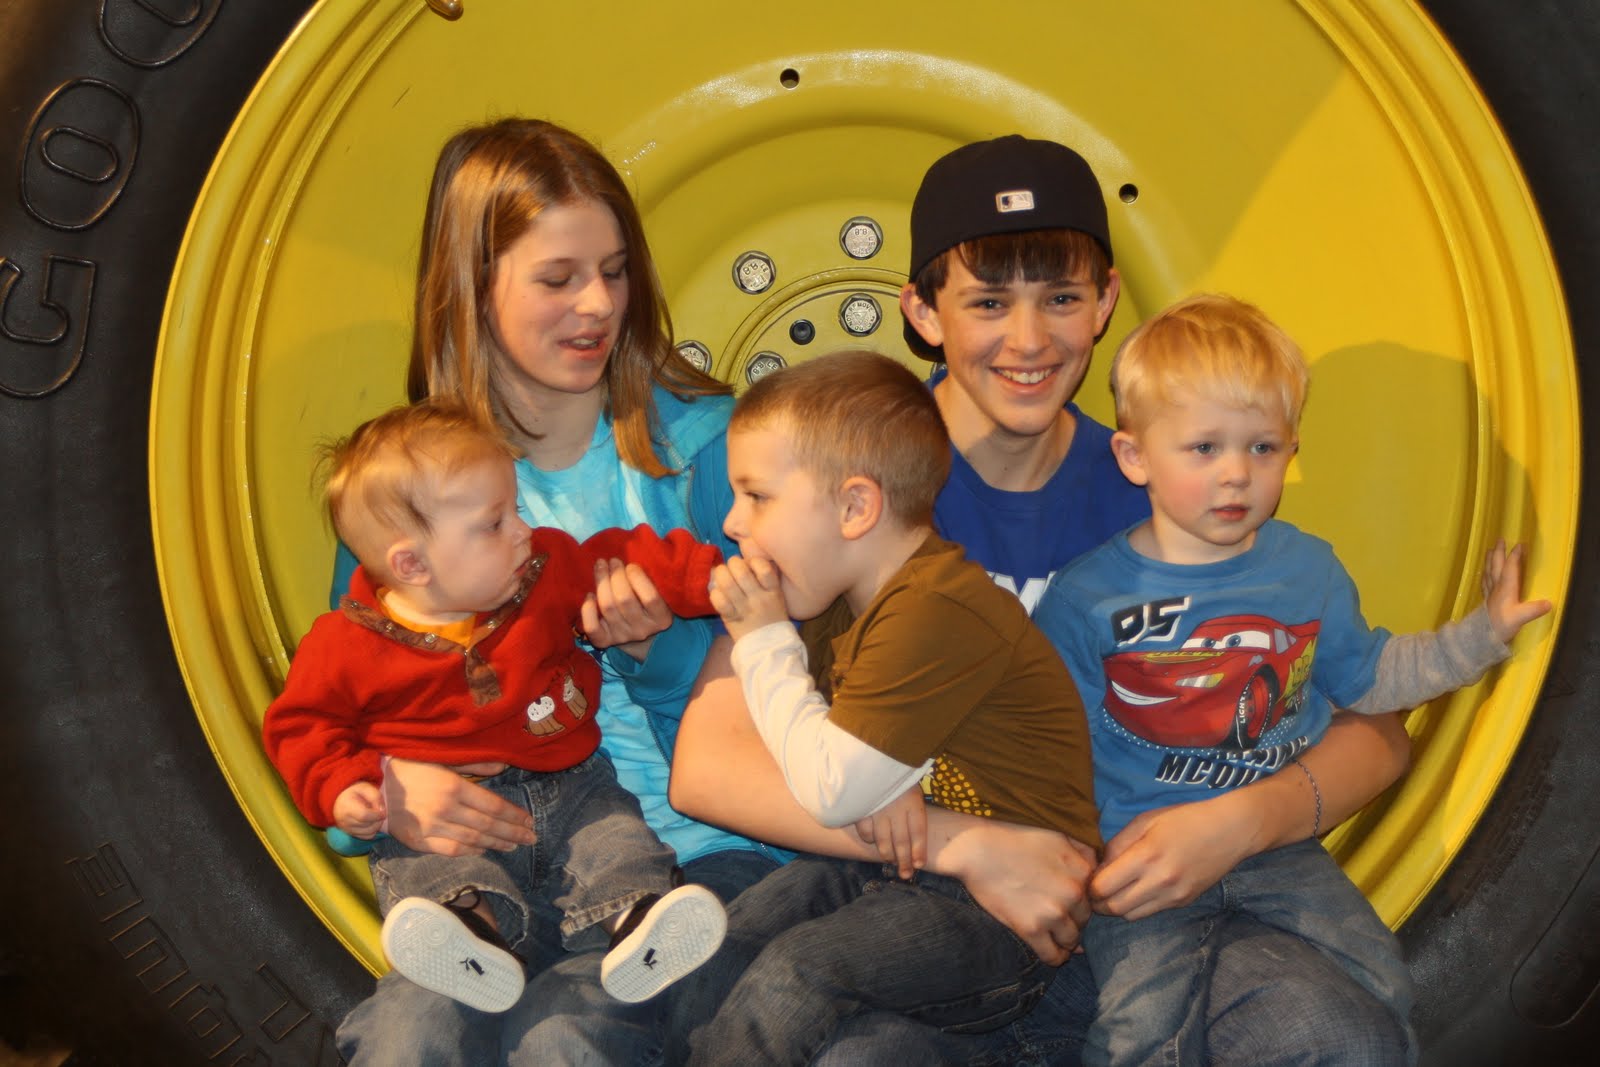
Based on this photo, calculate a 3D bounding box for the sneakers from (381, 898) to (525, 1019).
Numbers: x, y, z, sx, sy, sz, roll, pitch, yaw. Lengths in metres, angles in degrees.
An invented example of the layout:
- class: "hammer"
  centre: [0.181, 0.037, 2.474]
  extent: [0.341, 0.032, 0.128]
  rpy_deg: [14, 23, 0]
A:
- class: "sneakers"
  centre: [-0.508, 0.611, 2.112]
  extent: [0.228, 0.124, 0.100]
  rpy_deg: [32, -3, -13]

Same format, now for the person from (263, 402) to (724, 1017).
- class: "person"
  centre: [-0.507, 0.318, 2.247]
  extent: [0.687, 0.841, 0.661]
  rpy_deg: [-16, 20, -35]

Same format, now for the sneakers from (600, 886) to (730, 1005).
- class: "sneakers"
  centre: [-0.203, 0.599, 2.123]
  extent: [0.220, 0.125, 0.072]
  rpy_deg: [-37, 10, 1]

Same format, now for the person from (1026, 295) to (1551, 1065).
- class: "person"
  centre: [0.714, 0.198, 2.161]
  extent: [0.706, 1.139, 0.490]
  rpy_deg: [-5, 6, 21]
